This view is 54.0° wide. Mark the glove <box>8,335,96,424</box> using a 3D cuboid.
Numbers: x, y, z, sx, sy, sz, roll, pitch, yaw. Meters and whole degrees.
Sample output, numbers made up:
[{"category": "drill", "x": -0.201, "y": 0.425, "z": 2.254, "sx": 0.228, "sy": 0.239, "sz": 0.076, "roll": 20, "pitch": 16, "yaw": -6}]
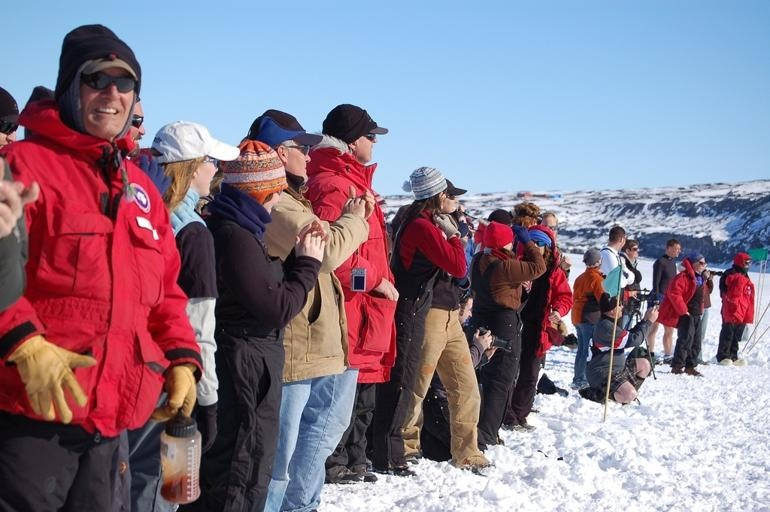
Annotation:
[{"category": "glove", "x": -1.630, "y": 0.590, "z": 3.653, "sx": 0.365, "sy": 0.249, "sz": 0.109, "roll": 37, "pitch": -6, "yaw": 4}]

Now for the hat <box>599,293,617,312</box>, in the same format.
[{"category": "hat", "x": 3.396, "y": 0.701, "z": 11.457, "sx": 0.249, "sy": 0.296, "sz": 0.211, "roll": -8, "pitch": 4, "yaw": -27}]

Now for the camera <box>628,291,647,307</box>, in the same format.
[{"category": "camera", "x": 4.094, "y": 0.672, "z": 12.321, "sx": 0.296, "sy": 0.179, "sz": 0.341, "roll": -2, "pitch": 46, "yaw": 4}]

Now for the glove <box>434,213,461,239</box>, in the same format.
[{"category": "glove", "x": 0.623, "y": -0.321, "z": 7.654, "sx": 0.304, "sy": 0.167, "sz": 0.118, "roll": 52, "pitch": 14, "yaw": 17}]

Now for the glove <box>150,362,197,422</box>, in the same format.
[{"category": "glove", "x": -1.159, "y": 0.735, "z": 4.134, "sx": 0.180, "sy": 0.338, "sz": 0.227, "roll": -13, "pitch": 22, "yaw": -14}]

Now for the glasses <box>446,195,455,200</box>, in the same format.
[{"category": "glasses", "x": 0.691, "y": -0.639, "z": 8.040, "sx": 0.072, "sy": 0.024, "sz": 0.074, "roll": -12, "pitch": -5, "yaw": 13}]

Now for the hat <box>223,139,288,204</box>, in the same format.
[{"category": "hat", "x": -0.886, "y": -0.596, "z": 5.176, "sx": 0.407, "sy": 0.445, "sz": 0.392, "roll": 2, "pitch": 11, "yaw": 11}]

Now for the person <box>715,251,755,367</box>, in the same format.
[{"category": "person", "x": 7.214, "y": 1.060, "z": 15.569, "sx": 0.675, "sy": 2.275, "sz": 1.088, "roll": 5, "pitch": 5, "yaw": 24}]

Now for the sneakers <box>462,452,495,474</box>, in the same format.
[{"category": "sneakers", "x": 0.926, "y": 2.083, "z": 7.485, "sx": 0.288, "sy": 0.161, "sz": 0.139, "roll": -24, "pitch": 37, "yaw": -21}]

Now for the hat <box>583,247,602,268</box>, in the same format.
[{"category": "hat", "x": 3.293, "y": -0.040, "z": 12.064, "sx": 0.219, "sy": 0.221, "sz": 0.347, "roll": 0, "pitch": 33, "yaw": 19}]

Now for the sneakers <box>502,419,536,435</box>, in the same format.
[{"category": "sneakers", "x": 1.609, "y": 2.052, "z": 9.129, "sx": 0.401, "sy": 0.199, "sz": 0.138, "roll": -4, "pitch": 9, "yaw": 2}]

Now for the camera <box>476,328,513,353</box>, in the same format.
[{"category": "camera", "x": 1.197, "y": 0.902, "z": 8.312, "sx": 0.292, "sy": 0.117, "sz": 0.303, "roll": 33, "pitch": -3, "yaw": 8}]

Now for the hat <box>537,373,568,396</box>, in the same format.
[{"category": "hat", "x": 2.426, "y": 1.922, "z": 11.068, "sx": 0.324, "sy": 0.184, "sz": 0.398, "roll": 2, "pitch": 31, "yaw": -41}]
